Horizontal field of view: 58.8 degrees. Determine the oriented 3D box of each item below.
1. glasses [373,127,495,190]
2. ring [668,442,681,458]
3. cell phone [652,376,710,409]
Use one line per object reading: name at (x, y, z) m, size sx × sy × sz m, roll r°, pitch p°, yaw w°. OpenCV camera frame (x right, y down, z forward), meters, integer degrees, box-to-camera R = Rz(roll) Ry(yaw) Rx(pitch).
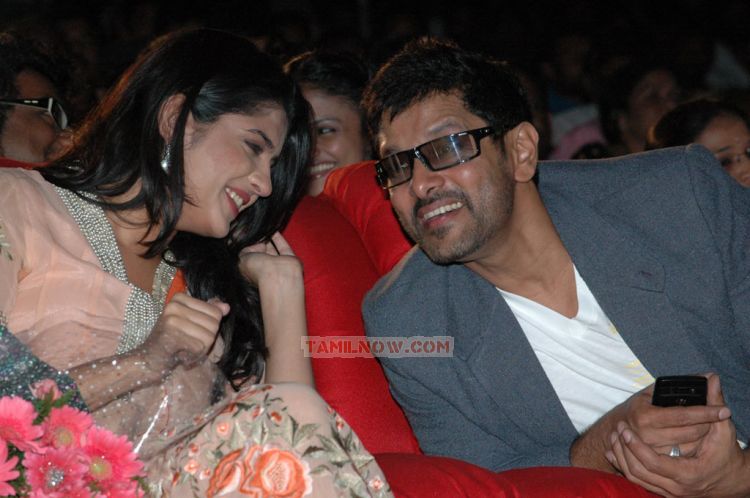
glasses at (0.221, -0.316, 2.313) m, size 0.402 × 0.191 × 0.086 m, roll -10°, pitch 1°, yaw 8°
ring at (0.967, 0.636, 2.117) m, size 0.035 × 0.047 × 0.017 m, roll 0°, pitch 3°, yaw 18°
cell phone at (0.967, 0.445, 2.106) m, size 0.165 × 0.094 × 0.101 m, roll -10°, pitch 0°, yaw 25°
